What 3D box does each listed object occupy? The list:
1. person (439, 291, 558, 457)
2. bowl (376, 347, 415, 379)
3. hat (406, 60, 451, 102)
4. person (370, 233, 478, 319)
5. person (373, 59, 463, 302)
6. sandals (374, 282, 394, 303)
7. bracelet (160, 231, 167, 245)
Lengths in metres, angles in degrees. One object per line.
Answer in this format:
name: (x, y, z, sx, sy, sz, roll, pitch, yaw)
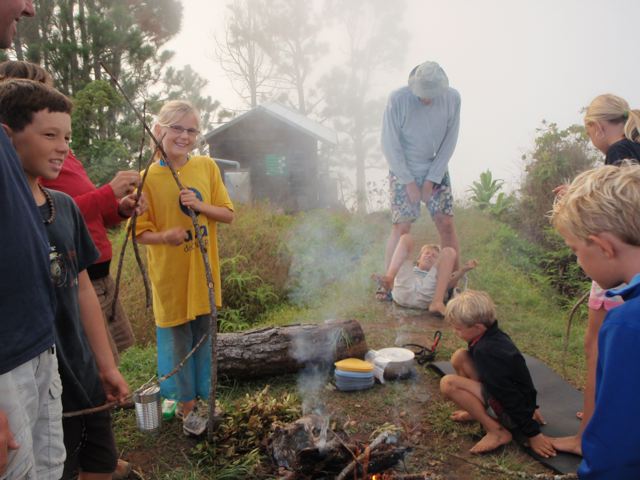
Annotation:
person: (1.438, 1.024, 4.205, 0.914, 1.198, 1.050, -1, 3, -17)
bowl: (0.753, 1.208, 5.174, 0.371, 0.217, 0.424, -2, 5, 2)
hat: (1.262, -1.892, 6.203, 0.455, 0.433, 0.292, -2, 5, 11)
person: (1.407, 0.402, 6.828, 0.958, 1.093, 1.226, -1, 36, 23)
person: (1.240, -0.851, 6.540, 0.977, 2.558, 0.672, -1, 5, 14)
sandals: (0.858, 0.706, 7.056, 0.267, 0.131, 0.479, -2, 1, -5)
bracelet: (-1.237, -0.019, 4.189, 0.066, 0.106, 0.114, -4, 5, -21)
